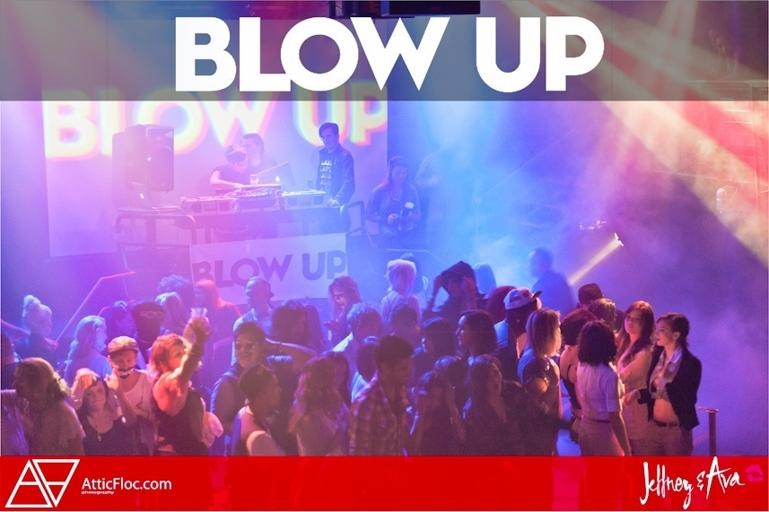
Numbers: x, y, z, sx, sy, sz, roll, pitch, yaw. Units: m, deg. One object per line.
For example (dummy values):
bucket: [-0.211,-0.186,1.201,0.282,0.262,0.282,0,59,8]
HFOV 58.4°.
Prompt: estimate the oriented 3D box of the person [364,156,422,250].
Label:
person: [0.080,-0.432,5.737,0.447,0.758,0.109,-1,-8,-1]

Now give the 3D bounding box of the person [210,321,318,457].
person: [-1.018,1.123,5.700,0.908,1.209,0.662,-10,6,-42]

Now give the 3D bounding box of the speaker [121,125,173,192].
speaker: [-1.995,-0.812,5.700,0.471,0.719,0.367,1,3,-13]

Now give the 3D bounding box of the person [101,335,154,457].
person: [-2.112,1.148,5.696,0.373,0.948,0.150,2,-8,-21]

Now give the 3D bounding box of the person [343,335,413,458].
person: [-0.032,1.151,5.721,0.510,0.951,0.200,0,-8,-8]

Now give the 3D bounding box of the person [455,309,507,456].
person: [0.940,1.258,6.122,0.368,0.447,1.495,6,27,10]

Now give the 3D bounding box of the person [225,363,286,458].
person: [-1.088,1.302,5.830,0.432,0.787,0.863,1,2,-19]

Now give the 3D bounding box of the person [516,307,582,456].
person: [1.308,1.049,5.739,0.363,1.194,0.181,-2,-8,8]

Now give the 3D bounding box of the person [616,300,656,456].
person: [2.114,1.115,5.898,0.416,1.372,0.425,4,22,36]

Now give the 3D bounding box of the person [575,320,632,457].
person: [1.816,1.102,5.747,0.420,1.102,0.215,-3,-8,8]

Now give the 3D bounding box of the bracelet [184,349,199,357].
bracelet: [-1.596,0.798,5.706,0.112,0.052,0.013,-3,-8,5]

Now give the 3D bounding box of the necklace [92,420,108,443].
necklace: [-2.372,1.468,5.719,0.092,0.139,0.032,7,2,-6]

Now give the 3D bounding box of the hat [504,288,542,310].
hat: [1.150,0.342,5.721,0.205,0.087,0.193,-23,4,5]

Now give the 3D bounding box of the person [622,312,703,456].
person: [2.387,1.415,5.804,0.544,1.842,0.527,-1,-8,37]

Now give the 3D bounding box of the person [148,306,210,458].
person: [-1.712,1.075,5.715,0.465,1.127,0.238,0,-8,-10]
